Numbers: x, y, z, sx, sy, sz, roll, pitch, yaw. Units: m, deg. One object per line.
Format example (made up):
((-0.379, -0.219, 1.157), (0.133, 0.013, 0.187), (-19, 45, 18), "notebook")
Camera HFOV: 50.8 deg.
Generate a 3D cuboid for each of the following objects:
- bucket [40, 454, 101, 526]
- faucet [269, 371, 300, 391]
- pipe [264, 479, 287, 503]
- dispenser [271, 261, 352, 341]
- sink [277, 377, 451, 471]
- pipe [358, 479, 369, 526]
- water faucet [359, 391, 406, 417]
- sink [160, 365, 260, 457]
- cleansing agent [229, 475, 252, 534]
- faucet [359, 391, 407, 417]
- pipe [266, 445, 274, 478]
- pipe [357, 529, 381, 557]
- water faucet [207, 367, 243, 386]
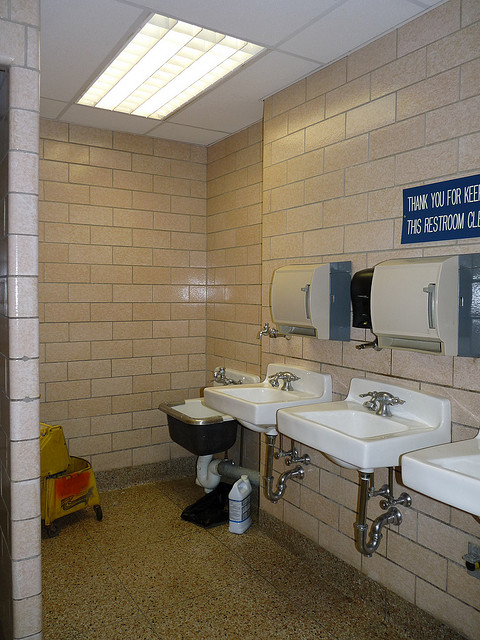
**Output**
((-1.006, 1.034, 3.025), (0.105, 0.271, 0.340), (1, 3, 43), "bucket")
((0.234, 0.328, 2.733), (0.111, 0.096, 0.178), (-1, 2, -19), "faucet")
((0.167, 0.838, 2.488), (0.060, 0.097, 0.105), (-2, 2, -25), "pipe")
((0.343, -0.092, 2.515), (0.268, 0.371, 0.382), (-4, 6, -29), "dispenser")
((0.498, 0.457, 2.041), (0.420, 0.333, 0.568), (-6, 6, -29), "sink")
((0.457, 0.680, 1.892), (0.038, 0.210, 0.041), (1, 6, -1), "pipe")
((0.583, 0.343, 2.083), (0.080, 0.092, 0.220), (2, -6, -29), "water faucet")
((-0.223, 0.634, 3.408), (0.588, 0.474, 0.456), (-2, 9, -37), "sink")
((0.004, 1.125, 3.088), (0.115, 0.306, 0.169), (1, 3, 41), "cleansing agent")
((0.582, 0.342, 2.086), (0.082, 0.093, 0.227), (2, -5, -30), "faucet")
((0.144, 0.699, 2.490), (0.027, 0.173, 0.048), (-1, 2, -6), "pipe")
((0.480, 0.836, 1.899), (0.077, 0.102, 0.031), (0, 2, 12), "pipe")
((-0.119, 0.382, 3.435), (0.156, 0.065, 0.130), (16, 8, 30), "water faucet")
